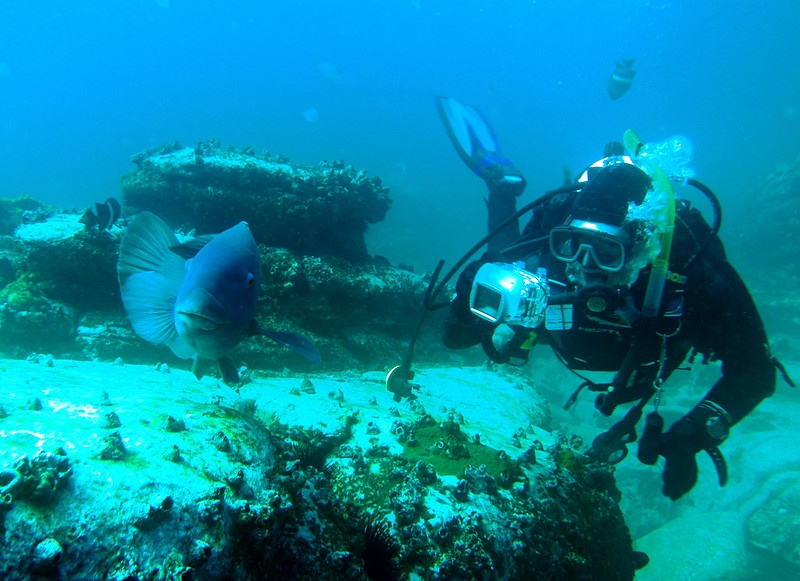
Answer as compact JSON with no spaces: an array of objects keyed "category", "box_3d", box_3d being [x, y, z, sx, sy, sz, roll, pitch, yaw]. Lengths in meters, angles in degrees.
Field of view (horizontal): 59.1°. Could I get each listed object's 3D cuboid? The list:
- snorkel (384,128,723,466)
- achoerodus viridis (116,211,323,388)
[{"category":"snorkel","box_3d":[2.182,-0.072,8.410,3.251,4.536,2.035,23,-6,22]},{"category":"achoerodus viridis","box_3d":[-2.110,-0.228,7.423,1.391,0.982,2.040,32,12,-16]}]
